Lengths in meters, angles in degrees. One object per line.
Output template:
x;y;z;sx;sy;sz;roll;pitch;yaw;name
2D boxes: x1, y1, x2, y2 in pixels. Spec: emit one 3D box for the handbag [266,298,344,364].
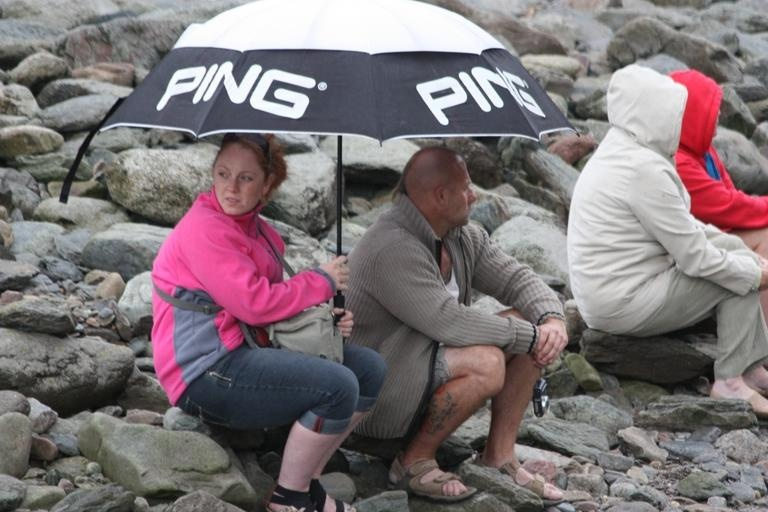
-0.536;0.542;8.756;0.516;0.466;0.335;-3;-3;0;handbag
